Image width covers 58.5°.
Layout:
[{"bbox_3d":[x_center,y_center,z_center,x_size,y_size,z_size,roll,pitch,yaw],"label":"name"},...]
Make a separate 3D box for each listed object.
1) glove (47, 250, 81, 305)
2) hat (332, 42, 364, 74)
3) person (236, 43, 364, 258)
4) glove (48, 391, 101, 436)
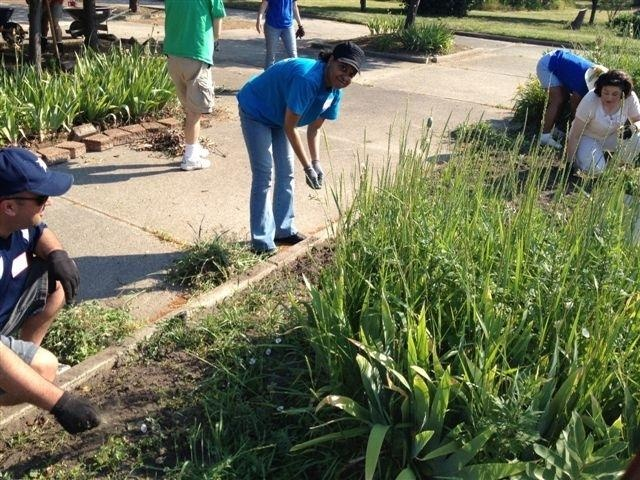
[{"bbox_3d":[-1.574,0.212,3.513,0.088,0.303,0.219,-16,0,19],"label":"glove"},{"bbox_3d":[0.189,-1.335,4.165,0.174,0.138,0.239,15,18,-39],"label":"hat"},{"bbox_3d":[-0.228,-0.714,4.559,0.968,1.721,0.622,6,18,2],"label":"person"},{"bbox_3d":[-1.268,0.894,2.960,0.189,0.261,0.102,-46,18,-31],"label":"glove"}]
